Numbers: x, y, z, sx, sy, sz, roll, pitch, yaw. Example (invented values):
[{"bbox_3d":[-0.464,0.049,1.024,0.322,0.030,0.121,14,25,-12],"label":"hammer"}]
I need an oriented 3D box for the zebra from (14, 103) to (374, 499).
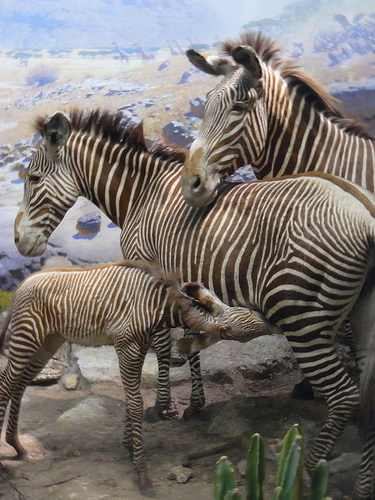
[{"bbox_3d":[0.141,0.136,3.061,2.496,1.343,0.703,24,37,31],"label":"zebra"}]
